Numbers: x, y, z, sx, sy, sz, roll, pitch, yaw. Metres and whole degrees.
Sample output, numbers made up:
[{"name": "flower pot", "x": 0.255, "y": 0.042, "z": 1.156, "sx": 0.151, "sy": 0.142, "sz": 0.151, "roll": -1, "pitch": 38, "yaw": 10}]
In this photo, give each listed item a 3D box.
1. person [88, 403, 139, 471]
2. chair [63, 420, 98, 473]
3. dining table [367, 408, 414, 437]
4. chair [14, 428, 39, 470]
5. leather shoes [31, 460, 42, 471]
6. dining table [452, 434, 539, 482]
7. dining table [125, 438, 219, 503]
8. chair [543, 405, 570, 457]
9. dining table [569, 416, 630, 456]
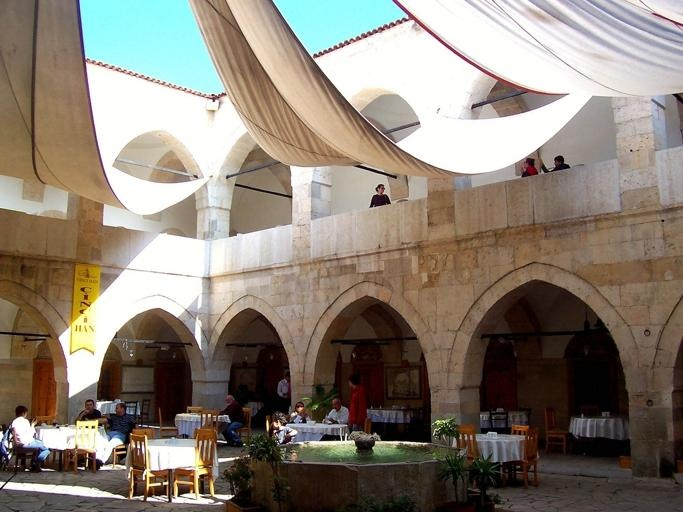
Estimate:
[{"name": "person", "x": -3.492, "y": 2.752, "z": 10.077, "sx": 0.964, "sy": 0.640, "sz": 1.190, "roll": -2, "pitch": 9, "yaw": -11}, {"name": "chair", "x": -3.985, "y": 2.878, "z": 9.895, "sx": 0.406, "sy": 0.730, "sz": 0.668, "roll": 7, "pitch": -15, "yaw": -31}, {"name": "dining table", "x": 1.099, "y": 3.662, "z": 14.345, "sx": 1.014, "sy": 0.593, "sz": 1.349, "roll": -2, "pitch": -13, "yaw": 5}, {"name": "chair", "x": -4.803, "y": 2.878, "z": 9.756, "sx": 0.422, "sy": 0.637, "sz": 0.451, "roll": 6, "pitch": -14, "yaw": -25}, {"name": "leather shoes", "x": -4.568, "y": 3.115, "z": 9.670, "sx": 0.142, "sy": 0.165, "sz": 0.178, "roll": 2, "pitch": -18, "yaw": -5}, {"name": "dining table", "x": 1.919, "y": 2.519, "z": 8.163, "sx": 1.015, "sy": 0.563, "sz": 1.028, "roll": -1, "pitch": -7, "yaw": 11}, {"name": "dining table", "x": -2.322, "y": 2.610, "z": 8.366, "sx": 0.906, "sy": 0.673, "sz": 0.946, "roll": -7, "pitch": -13, "yaw": 38}, {"name": "chair", "x": 4.254, "y": 3.443, "z": 12.904, "sx": 0.423, "sy": 0.821, "sz": 1.982, "roll": -4, "pitch": -14, "yaw": 18}, {"name": "dining table", "x": 4.853, "y": 3.381, "z": 12.275, "sx": 1.052, "sy": 0.689, "sz": 1.083, "roll": -5, "pitch": -14, "yaw": 20}]
